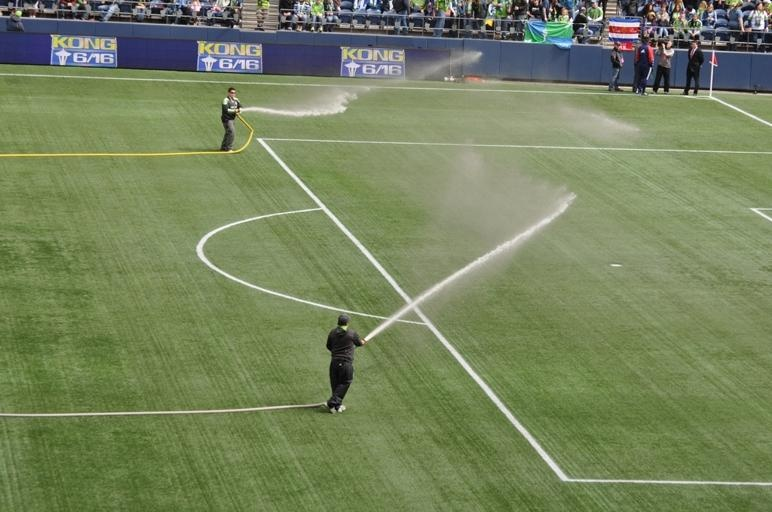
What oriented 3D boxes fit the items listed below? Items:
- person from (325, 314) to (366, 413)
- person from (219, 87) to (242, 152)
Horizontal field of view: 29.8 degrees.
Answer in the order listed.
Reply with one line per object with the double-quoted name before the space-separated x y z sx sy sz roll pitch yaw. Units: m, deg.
"person" -1.216 2.839 37.976 0.864 2.672 0.551 6 21 -3
"person" -5.465 -4.828 50.307 0.608 2.289 1.115 4 21 -7
